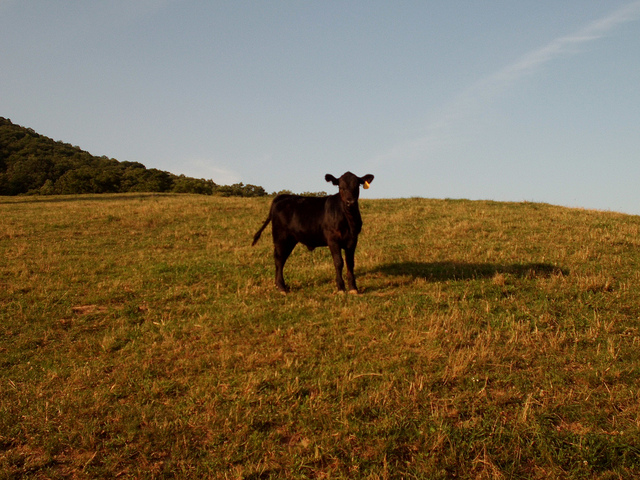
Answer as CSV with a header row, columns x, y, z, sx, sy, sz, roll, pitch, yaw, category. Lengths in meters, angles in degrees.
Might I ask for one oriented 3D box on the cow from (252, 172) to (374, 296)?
x,y,z,sx,sy,sz,roll,pitch,yaw,category
-0.159,-0.075,16.611,4.100,3.599,1.576,-3,3,37,cow
